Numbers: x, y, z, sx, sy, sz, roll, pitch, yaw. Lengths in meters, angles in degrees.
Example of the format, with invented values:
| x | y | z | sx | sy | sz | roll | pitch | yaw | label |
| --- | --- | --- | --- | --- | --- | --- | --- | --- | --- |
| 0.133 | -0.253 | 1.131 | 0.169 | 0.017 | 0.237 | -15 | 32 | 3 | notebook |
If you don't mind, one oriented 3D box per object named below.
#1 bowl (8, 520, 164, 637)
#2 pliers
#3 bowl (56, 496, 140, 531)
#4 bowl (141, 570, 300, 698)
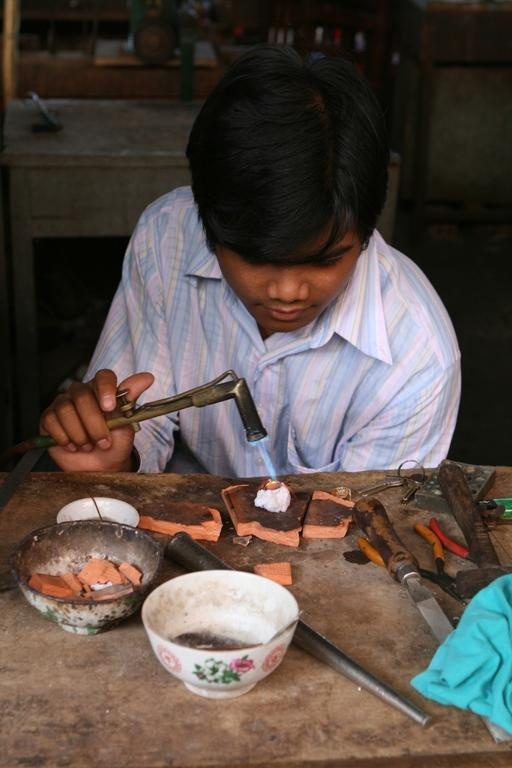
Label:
| x | y | z | sx | sy | sz | roll | pitch | yaw | label |
| --- | --- | --- | --- | --- | --- | --- | --- | --- | --- |
| -0.240 | 0.286 | 1.077 | 0.201 | 0.087 | 0.198 | 3 | 24 | -1 | bowl |
| 0.272 | 0.286 | 1.194 | 0.113 | 0.031 | 0.206 | -13 | 34 | -32 | pliers |
| -0.270 | 0.221 | 1.256 | 0.088 | 0.030 | 0.099 | -8 | 14 | -44 | bowl |
| -0.049 | 0.329 | 0.950 | 0.194 | 0.086 | 0.184 | 3 | 12 | -1 | bowl |
